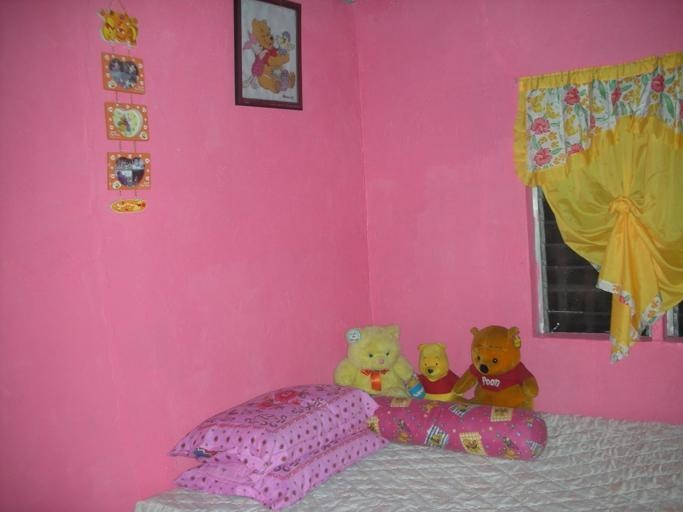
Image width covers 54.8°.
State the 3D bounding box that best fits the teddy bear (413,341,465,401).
[{"bbox_3d":[0.524,0.676,3.664,0.310,0.382,0.258,-6,14,12],"label":"teddy bear"}]

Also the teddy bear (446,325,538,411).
[{"bbox_3d":[0.826,0.633,3.539,0.489,0.488,0.360,-3,14,38],"label":"teddy bear"}]

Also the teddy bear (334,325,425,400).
[{"bbox_3d":[0.204,0.632,3.727,0.463,0.459,0.345,-6,28,-16],"label":"teddy bear"}]
